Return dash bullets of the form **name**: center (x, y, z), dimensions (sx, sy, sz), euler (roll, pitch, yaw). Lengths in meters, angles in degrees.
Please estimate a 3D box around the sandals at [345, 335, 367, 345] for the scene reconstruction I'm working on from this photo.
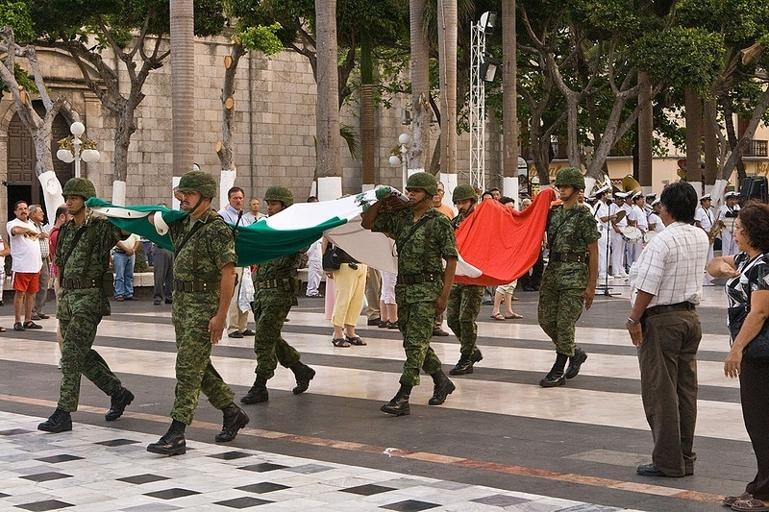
- **sandals**: center (-0.457, 1.409, 15.228), dimensions (0.362, 0.119, 0.134), euler (0, 0, 32)

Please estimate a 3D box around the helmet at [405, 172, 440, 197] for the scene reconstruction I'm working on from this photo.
- **helmet**: center (0.419, -0.839, 10.580), dimensions (0.338, 0.274, 0.289), euler (-1, 4, 1)

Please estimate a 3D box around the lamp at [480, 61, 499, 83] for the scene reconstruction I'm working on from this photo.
- **lamp**: center (3.079, -5.586, 27.521), dimensions (0.370, 0.493, 0.457), euler (-2, 4, -10)

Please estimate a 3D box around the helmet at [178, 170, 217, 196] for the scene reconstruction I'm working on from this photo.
- **helmet**: center (-1.870, -0.730, 9.248), dimensions (0.263, 0.195, 0.363), euler (12, 18, 42)

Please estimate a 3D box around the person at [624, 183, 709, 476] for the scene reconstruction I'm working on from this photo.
- **person**: center (2.548, 0.657, 8.397), dimensions (0.594, 2.670, 0.630), euler (1, 5, 29)

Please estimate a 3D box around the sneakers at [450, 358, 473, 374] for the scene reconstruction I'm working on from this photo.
- **sneakers**: center (0.986, 1.547, 12.617), dimensions (0.418, 0.159, 0.136), euler (3, -3, -39)

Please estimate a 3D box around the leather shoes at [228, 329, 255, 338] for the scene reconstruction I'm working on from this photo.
- **leather shoes**: center (-2.504, 1.408, 16.537), dimensions (0.554, 0.176, 0.169), euler (-3, 2, -2)

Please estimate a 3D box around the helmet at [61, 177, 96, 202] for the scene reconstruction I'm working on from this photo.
- **helmet**: center (-3.386, -0.748, 10.203), dimensions (0.332, 0.205, 0.276), euler (-9, 13, -33)

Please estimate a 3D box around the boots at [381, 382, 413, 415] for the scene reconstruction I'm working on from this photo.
- **boots**: center (0.114, 1.653, 10.464), dimensions (0.419, 0.349, 0.189), euler (5, -20, -39)

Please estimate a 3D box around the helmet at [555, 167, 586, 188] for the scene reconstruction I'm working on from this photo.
- **helmet**: center (2.393, -1.014, 11.962), dimensions (0.358, 0.281, 0.425), euler (0, 4, 10)

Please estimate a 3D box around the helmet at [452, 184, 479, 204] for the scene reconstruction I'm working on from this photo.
- **helmet**: center (1.146, -0.904, 13.237), dimensions (0.326, 0.174, 0.302), euler (1, -10, -43)

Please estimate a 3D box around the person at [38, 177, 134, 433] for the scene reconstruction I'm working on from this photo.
- **person**: center (-3.276, 0.502, 10.085), dimensions (0.934, 2.728, 0.872), euler (-1, 4, -4)

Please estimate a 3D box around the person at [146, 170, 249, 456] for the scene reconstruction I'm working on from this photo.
- **person**: center (-1.874, 0.544, 9.214), dimensions (0.937, 2.782, 0.790), euler (-1, 4, -6)

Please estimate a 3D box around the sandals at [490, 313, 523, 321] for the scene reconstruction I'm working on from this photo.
- **sandals**: center (2.440, 1.225, 18.410), dimensions (0.592, 0.132, 0.202), euler (2, -2, -34)

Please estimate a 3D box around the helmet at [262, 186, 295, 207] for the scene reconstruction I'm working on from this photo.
- **helmet**: center (-1.334, -0.761, 11.694), dimensions (0.356, 0.175, 0.256), euler (-8, 11, -29)

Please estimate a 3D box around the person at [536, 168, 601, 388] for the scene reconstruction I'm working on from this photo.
- **person**: center (2.369, 0.262, 11.980), dimensions (0.745, 2.797, 0.840), euler (0, 4, 9)

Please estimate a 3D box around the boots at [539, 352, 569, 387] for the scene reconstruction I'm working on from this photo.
- **boots**: center (2.149, 1.480, 11.907), dimensions (0.231, 0.420, 0.512), euler (9, 7, 42)

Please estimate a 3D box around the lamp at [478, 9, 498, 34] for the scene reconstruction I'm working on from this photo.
- **lamp**: center (3.127, -7.337, 28.402), dimensions (0.490, 0.782, 1.469), euler (-1, 4, 4)

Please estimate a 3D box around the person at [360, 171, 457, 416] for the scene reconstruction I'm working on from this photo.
- **person**: center (0.330, 0.419, 10.601), dimensions (0.983, 2.762, 0.698), euler (-1, 4, 4)

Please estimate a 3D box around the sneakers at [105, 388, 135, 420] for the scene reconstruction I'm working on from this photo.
- **sneakers**: center (-2.979, 1.698, 10.407), dimensions (0.260, 0.353, 0.118), euler (39, 12, -19)

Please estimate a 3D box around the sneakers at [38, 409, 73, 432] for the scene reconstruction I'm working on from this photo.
- **sneakers**: center (-3.473, 1.789, 9.902), dimensions (0.409, 0.234, 0.190), euler (6, -6, -29)
